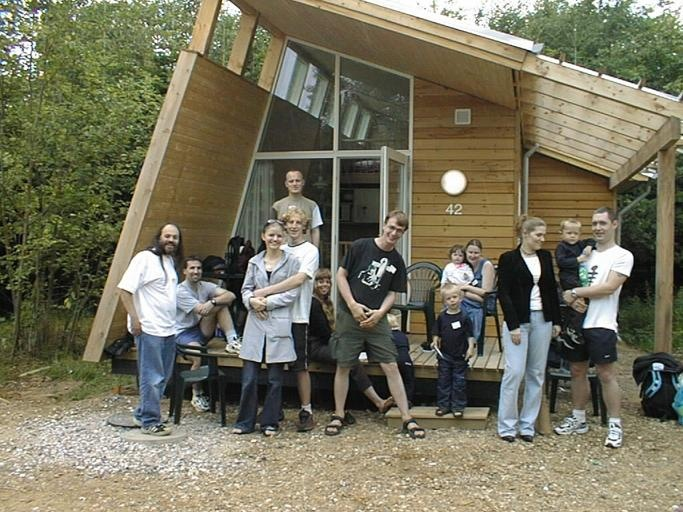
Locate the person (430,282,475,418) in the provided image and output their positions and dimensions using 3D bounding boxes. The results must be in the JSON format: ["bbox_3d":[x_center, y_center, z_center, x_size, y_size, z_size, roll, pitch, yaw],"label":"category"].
[{"bbox_3d":[1.107,1.022,5.705,0.391,1.054,0.353,0,4,7],"label":"person"}]

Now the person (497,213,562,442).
[{"bbox_3d":[1.712,0.662,5.312,0.571,2.022,0.305,-2,4,-23],"label":"person"}]

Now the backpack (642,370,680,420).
[{"bbox_3d":[3.296,1.426,5.936,0.342,0.492,0.168,1,4,22],"label":"backpack"}]

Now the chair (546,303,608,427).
[{"bbox_3d":[2.516,1.257,6.281,0.675,0.801,0.541,-1,-8,13],"label":"chair"}]

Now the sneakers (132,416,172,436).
[{"bbox_3d":[-1.818,1.587,5.380,0.508,0.153,0.164,0,1,16],"label":"sneakers"}]

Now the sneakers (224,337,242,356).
[{"bbox_3d":[-1.184,0.987,6.317,0.142,0.146,0.374,8,-10,-38],"label":"sneakers"}]

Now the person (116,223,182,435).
[{"bbox_3d":[-1.726,0.667,5.292,0.605,1.932,0.353,-2,4,-31],"label":"person"}]

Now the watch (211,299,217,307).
[{"bbox_3d":[-1.422,0.517,6.428,0.058,0.082,0.027,-1,4,-13],"label":"watch"}]

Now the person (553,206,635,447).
[{"bbox_3d":[2.367,0.623,5.361,0.595,2.133,0.550,2,4,34],"label":"person"}]

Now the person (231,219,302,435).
[{"bbox_3d":[-0.715,0.665,5.464,0.629,1.999,0.348,0,4,-4],"label":"person"}]

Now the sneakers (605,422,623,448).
[{"bbox_3d":[2.450,1.587,5.156,0.096,0.223,0.174,3,5,42],"label":"sneakers"}]

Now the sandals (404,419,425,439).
[{"bbox_3d":[0.681,1.613,5.377,0.124,0.081,0.231,-2,-1,-20],"label":"sandals"}]

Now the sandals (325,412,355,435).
[{"bbox_3d":[-0.011,1.634,5.616,0.202,0.095,0.463,-2,-7,12],"label":"sandals"}]

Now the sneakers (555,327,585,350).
[{"bbox_3d":[2.122,0.761,5.282,0.113,0.129,0.314,42,-18,-22],"label":"sneakers"}]

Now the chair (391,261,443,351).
[{"bbox_3d":[0.934,0.562,7.174,0.728,0.726,0.613,-2,19,21],"label":"chair"}]

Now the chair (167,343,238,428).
[{"bbox_3d":[-1.430,1.299,6.129,0.990,0.933,0.884,0,-2,-2],"label":"chair"}]

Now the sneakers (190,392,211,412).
[{"bbox_3d":[-1.525,1.587,6.229,0.133,0.100,0.264,1,-2,-42],"label":"sneakers"}]

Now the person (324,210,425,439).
[{"bbox_3d":[0.299,0.635,5.456,0.896,2.106,0.360,0,4,5],"label":"person"}]

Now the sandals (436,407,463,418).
[{"bbox_3d":[1.057,1.517,5.622,0.278,0.077,0.084,4,-2,-2],"label":"sandals"}]

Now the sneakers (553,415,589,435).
[{"bbox_3d":[2.183,1.616,5.527,0.438,0.148,0.134,1,-3,-12],"label":"sneakers"}]
